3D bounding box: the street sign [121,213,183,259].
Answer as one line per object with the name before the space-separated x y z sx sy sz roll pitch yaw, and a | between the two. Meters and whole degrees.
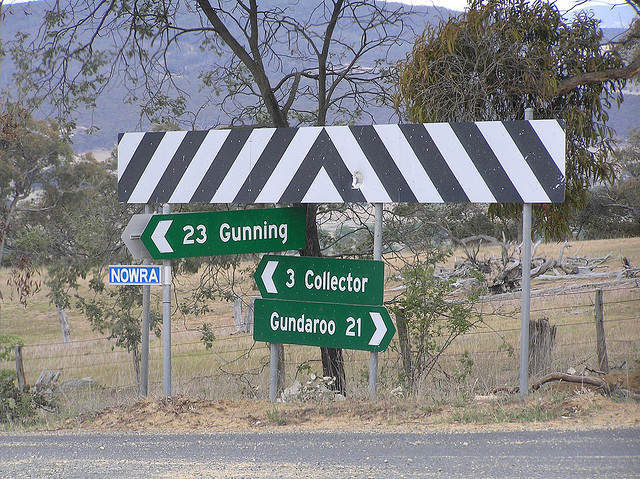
street sign | -5.521 -0.066 51.816 0.909 1.431 0.366 -2 12 -8
